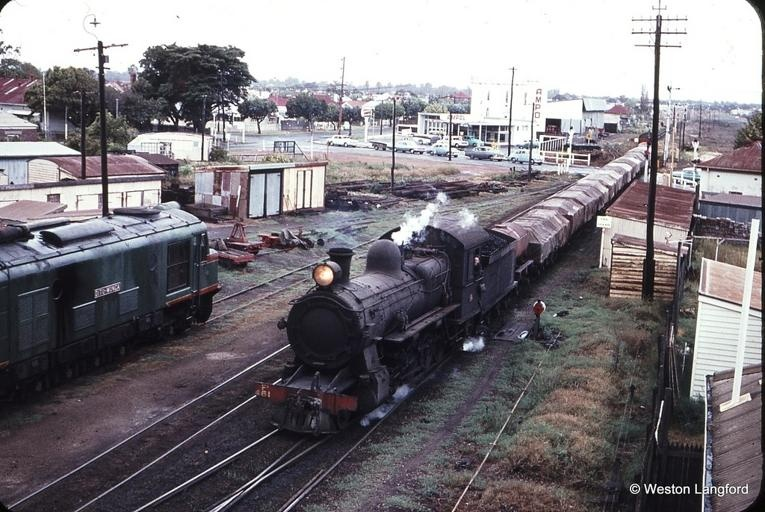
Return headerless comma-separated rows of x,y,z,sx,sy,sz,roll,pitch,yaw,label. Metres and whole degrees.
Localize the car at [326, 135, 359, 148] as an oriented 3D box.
-6.303,-17.745,92.823,4.498,1.693,2.047,-2,12,-15,car
